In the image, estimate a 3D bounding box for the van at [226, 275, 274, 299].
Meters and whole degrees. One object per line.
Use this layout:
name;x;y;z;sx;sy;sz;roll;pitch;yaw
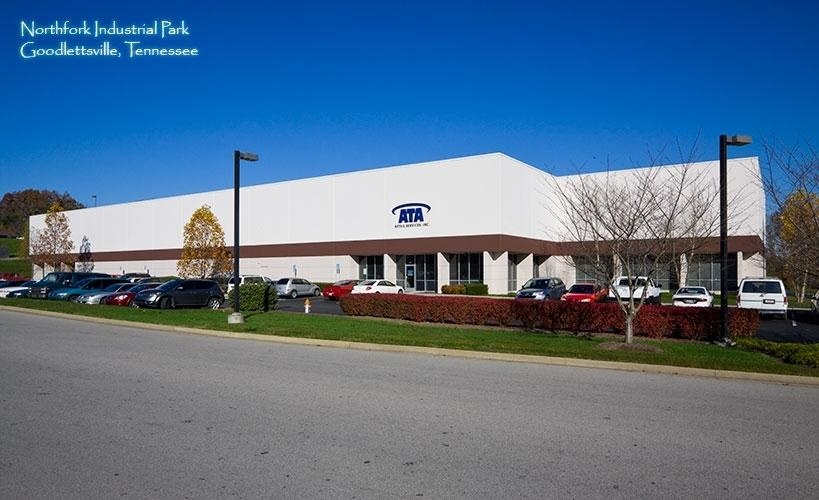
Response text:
van;-8.443;1.963;34.585;2.732;1.414;1.739;-4;0;-5

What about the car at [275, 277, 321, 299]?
car;-7.923;2.692;46.292;1.426;0.983;2.651;1;3;44

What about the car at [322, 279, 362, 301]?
car;-4.640;2.835;43.654;1.375;0.891;3.031;0;4;28

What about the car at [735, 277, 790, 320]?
car;16.255;2.585;29.717;2.292;2.067;4.236;0;4;24

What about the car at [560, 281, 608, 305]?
car;9.903;2.668;36.673;1.737;1.196;5.285;4;9;24
